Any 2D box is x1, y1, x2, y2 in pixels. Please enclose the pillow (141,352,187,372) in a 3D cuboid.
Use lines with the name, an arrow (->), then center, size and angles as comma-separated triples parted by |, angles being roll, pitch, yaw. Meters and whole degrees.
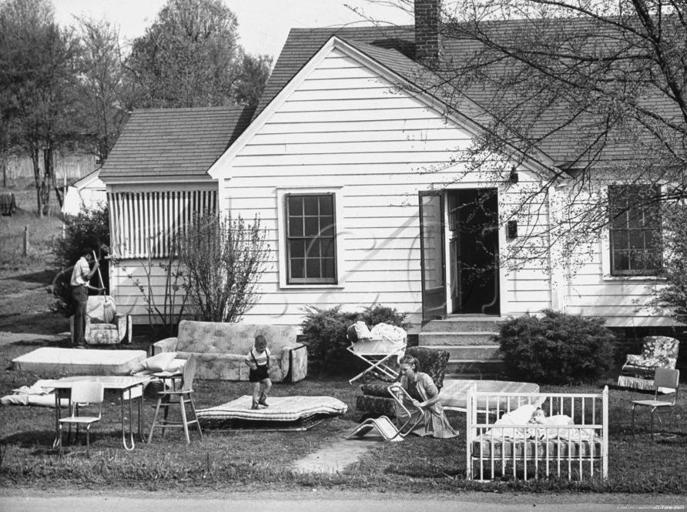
pillow -> -4.015, 2.404, 31.661 | 0.604, 0.228, 0.645 | -7, 9, -37

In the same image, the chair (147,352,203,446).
chair -> -3.571, 3.138, 30.196 | 1.055, 1.992, 1.060 | 2, 3, -5

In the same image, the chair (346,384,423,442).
chair -> 0.866, 3.268, 29.938 | 1.315, 1.229, 1.405 | 0, 2, -14

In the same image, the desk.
desk -> -5.510, 3.300, 29.421 | 0.943, 1.406, 2.506 | 0, -3, -11

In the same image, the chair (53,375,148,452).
chair -> -5.268, 3.221, 28.286 | 0.683, 1.420, 0.828 | 2, 0, 1

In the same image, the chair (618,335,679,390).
chair -> 7.072, 2.439, 32.366 | 1.078, 1.369, 1.208 | 1, 3, -15

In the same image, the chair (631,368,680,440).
chair -> 6.651, 3.036, 30.071 | 0.994, 1.645, 1.202 | 0, 3, 13

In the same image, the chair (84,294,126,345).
chair -> -6.089, 1.650, 36.286 | 0.998, 1.271, 1.158 | 0, -6, -11

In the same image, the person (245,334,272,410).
person -> -1.775, 2.499, 30.226 | 0.473, 1.625, 0.423 | -4, 5, -32
